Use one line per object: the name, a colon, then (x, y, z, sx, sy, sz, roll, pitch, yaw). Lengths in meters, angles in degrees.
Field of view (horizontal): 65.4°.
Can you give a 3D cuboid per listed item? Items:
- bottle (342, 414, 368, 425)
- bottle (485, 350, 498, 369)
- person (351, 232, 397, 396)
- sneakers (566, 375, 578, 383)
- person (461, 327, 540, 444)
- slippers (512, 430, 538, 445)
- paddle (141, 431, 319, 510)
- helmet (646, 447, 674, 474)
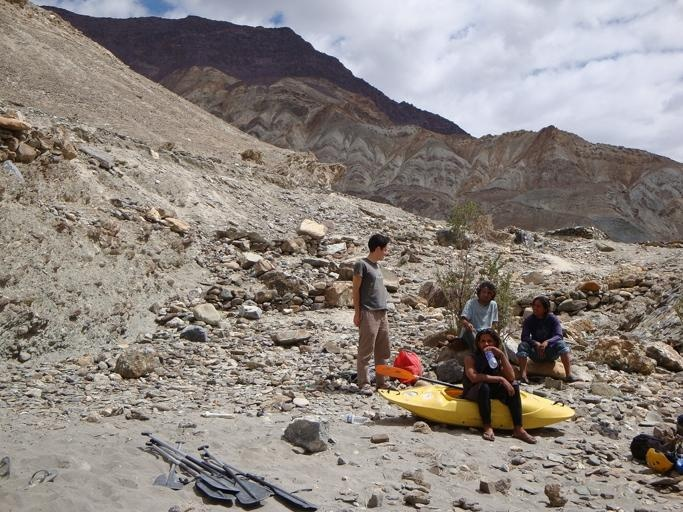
bottle: (0.181, 2.124, 6.900, 0.356, 0.099, 0.231, 2, -12, 11)
bottle: (1.917, 1.318, 6.725, 0.174, 0.234, 0.093, 11, -15, -18)
person: (0.443, 0.807, 7.725, 0.554, 2.212, 0.829, 5, -15, 11)
sneakers: (3.397, 1.817, 7.839, 0.188, 0.062, 0.073, -7, 16, 47)
person: (1.988, 1.618, 6.744, 0.848, 1.367, 0.334, 4, -15, 8)
slippers: (2.231, 2.197, 6.473, 0.280, 0.168, 0.120, -2, 8, 30)
paddle: (-1.286, 2.185, 5.627, 1.730, 0.150, 0.657, 7, 3, 35)
helmet: (3.495, 2.247, 5.891, 0.319, 0.203, 0.233, 2, -45, 28)
